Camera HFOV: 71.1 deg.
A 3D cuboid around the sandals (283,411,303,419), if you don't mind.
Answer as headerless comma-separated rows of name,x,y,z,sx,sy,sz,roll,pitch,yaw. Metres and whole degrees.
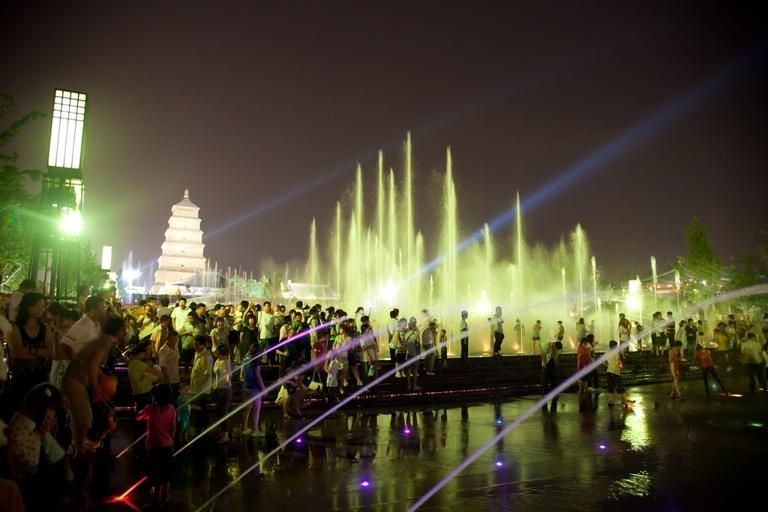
sandals,-2.479,4.333,14.587,0.594,0.242,0.188,-2,-1,10
